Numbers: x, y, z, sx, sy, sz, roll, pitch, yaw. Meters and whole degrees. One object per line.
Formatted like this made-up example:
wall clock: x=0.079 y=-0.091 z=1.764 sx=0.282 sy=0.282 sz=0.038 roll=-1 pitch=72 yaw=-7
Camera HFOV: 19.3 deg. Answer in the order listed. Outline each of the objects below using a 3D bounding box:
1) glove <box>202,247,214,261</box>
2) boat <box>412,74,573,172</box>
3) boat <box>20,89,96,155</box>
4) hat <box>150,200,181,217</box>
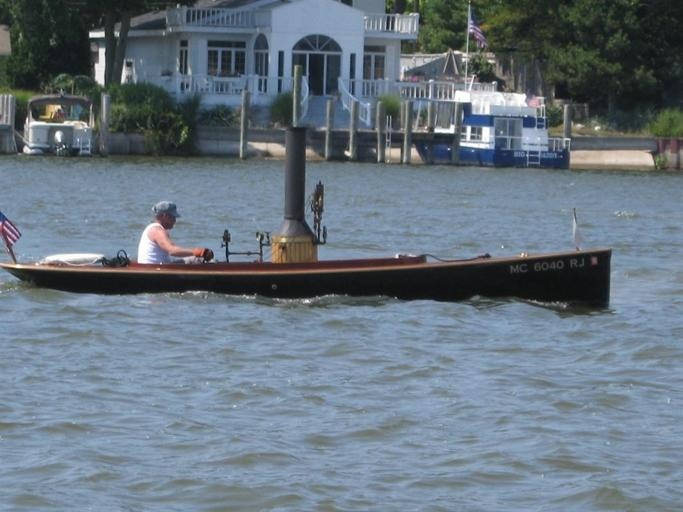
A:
glove: x=-3.103 y=-0.032 z=46.167 sx=0.231 sy=0.184 sz=0.253 roll=-4 pitch=-17 yaw=19
boat: x=5.258 y=-4.729 z=73.392 sx=3.012 sy=2.265 sz=4.458 roll=-2 pitch=2 yaw=-35
boat: x=-10.209 y=-4.551 z=71.620 sx=1.754 sy=1.420 sz=2.913 roll=0 pitch=-1 yaw=-13
hat: x=-4.028 y=-1.045 z=45.809 sx=0.609 sy=0.299 sz=0.422 roll=-2 pitch=10 yaw=-18
